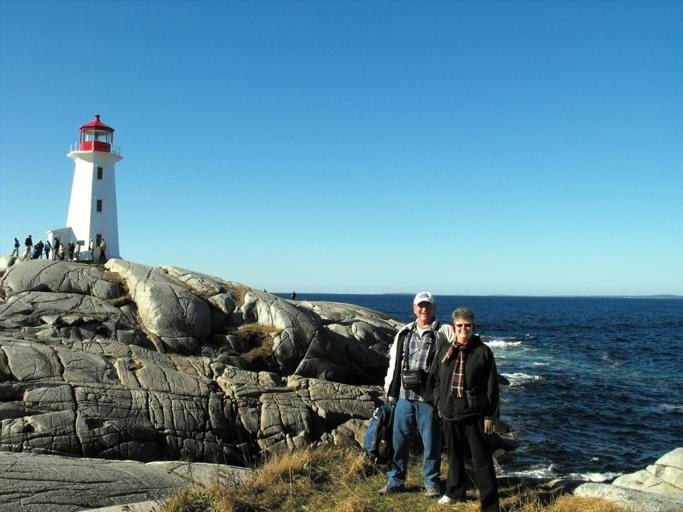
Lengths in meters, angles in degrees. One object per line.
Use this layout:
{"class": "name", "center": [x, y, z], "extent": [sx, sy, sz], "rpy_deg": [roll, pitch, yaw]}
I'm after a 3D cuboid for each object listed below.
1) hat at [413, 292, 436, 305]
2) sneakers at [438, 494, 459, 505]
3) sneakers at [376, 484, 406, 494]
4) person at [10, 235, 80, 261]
{"class": "hat", "center": [1.752, 0.903, 12.122], "extent": [0.377, 0.275, 0.480], "rpy_deg": [12, 4, 10]}
{"class": "sneakers", "center": [2.205, 4.987, 11.851], "extent": [0.405, 0.155, 0.178], "rpy_deg": [2, -8, 11]}
{"class": "sneakers", "center": [1.072, 4.997, 12.495], "extent": [0.636, 0.234, 0.199], "rpy_deg": [5, -11, -4]}
{"class": "person", "center": [-14.818, -0.323, 29.325], "extent": [1.625, 1.415, 0.993], "rpy_deg": [1, 4, 35]}
